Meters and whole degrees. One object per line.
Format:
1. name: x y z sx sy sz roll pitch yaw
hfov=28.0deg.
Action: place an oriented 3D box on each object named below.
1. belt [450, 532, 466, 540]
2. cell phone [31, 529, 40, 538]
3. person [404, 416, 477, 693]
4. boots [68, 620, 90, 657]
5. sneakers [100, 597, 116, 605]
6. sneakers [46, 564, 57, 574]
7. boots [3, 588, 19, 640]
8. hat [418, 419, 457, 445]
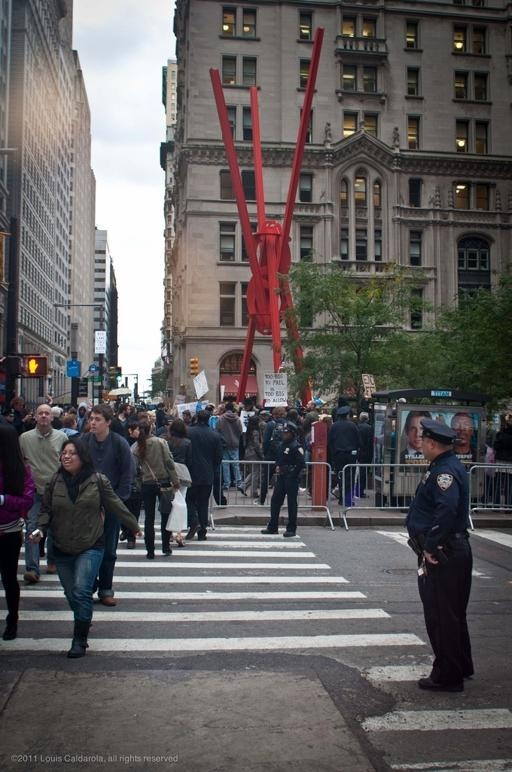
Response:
1. belt: 1.504 1.094 7.565 0.080 0.032 0.062 -5 -2 2
2. cell phone: -1.799 1.197 8.413 0.030 0.033 0.120 30 31 28
3. person: 1.402 1.217 7.607 0.497 1.871 0.553 3 1 -1
4. boots: -1.385 1.952 8.046 0.151 0.227 0.328 3 1 -7
5. sneakers: -1.421 2.050 9.887 0.153 0.073 0.263 3 1 -9
6. sneakers: -2.291 2.044 11.534 0.063 0.087 0.196 1 -14 -8
7. boots: -2.023 1.878 8.517 0.115 0.307 0.290 3 1 -13
8. hat: 1.368 0.330 7.749 0.235 0.095 0.207 27 16 29
